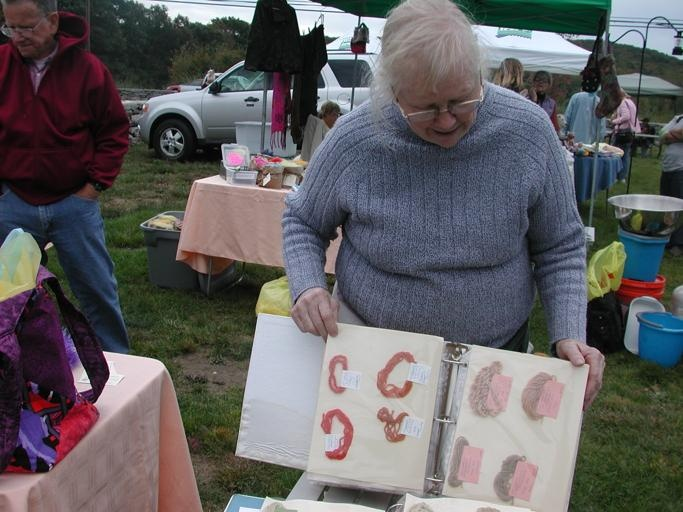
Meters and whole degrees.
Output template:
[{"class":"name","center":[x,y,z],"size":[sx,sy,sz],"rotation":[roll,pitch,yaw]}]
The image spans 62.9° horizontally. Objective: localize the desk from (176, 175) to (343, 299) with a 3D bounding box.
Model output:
[{"class":"desk","center":[-0.791,-0.176,4.874],"size":[0.880,0.534,0.955],"rotation":[13,11,12]}]

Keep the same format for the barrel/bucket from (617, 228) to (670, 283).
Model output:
[{"class":"barrel/bucket","center":[2.640,0.001,5.042],"size":[0.395,0.394,0.399],"rotation":[16,0,0]}]

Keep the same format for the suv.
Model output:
[{"class":"suv","center":[-1.655,-3.354,10.477],"size":[4.543,2.143,2.183],"rotation":[-6,54,-16]}]

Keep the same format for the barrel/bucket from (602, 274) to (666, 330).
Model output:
[{"class":"barrel/bucket","center":[2.575,0.387,4.846],"size":[0.326,0.408,0.353],"rotation":[0,7,0]}]

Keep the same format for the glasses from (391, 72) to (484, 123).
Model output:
[{"class":"glasses","center":[0.275,-0.430,1.569],"size":[0.136,0.092,0.183],"rotation":[-21,10,12]}]

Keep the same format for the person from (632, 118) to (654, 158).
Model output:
[{"class":"person","center":[8.862,-3.535,16.595],"size":[0.534,1.063,0.531],"rotation":[26,22,39]}]

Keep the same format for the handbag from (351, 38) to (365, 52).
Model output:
[{"class":"handbag","center":[0.199,-2.416,6.414],"size":[0.115,0.132,0.125],"rotation":[0,6,-4]}]

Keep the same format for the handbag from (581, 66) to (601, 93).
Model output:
[{"class":"handbag","center":[2.740,-1.942,6.183],"size":[0.197,0.298,0.273],"rotation":[-2,17,3]}]
